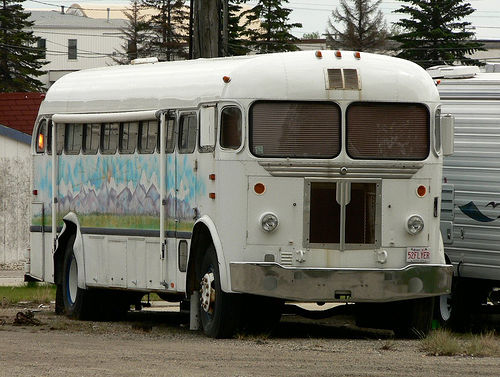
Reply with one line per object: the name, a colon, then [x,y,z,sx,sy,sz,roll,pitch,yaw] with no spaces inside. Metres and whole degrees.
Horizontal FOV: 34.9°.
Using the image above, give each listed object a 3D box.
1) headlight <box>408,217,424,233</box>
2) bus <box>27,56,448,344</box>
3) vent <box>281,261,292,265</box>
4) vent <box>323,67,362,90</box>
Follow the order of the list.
headlight: [2.377,0.543,11.566,0.181,0.224,0.069,-2,-2,-20]
bus: [-0.548,0.131,13.013,7.073,4.814,2.418,-1,1,42]
vent: [0.507,1.080,11.278,0.151,0.054,0.030,-2,1,4]
vent: [1.332,-1.591,11.521,0.529,0.352,0.234,-2,1,3]
